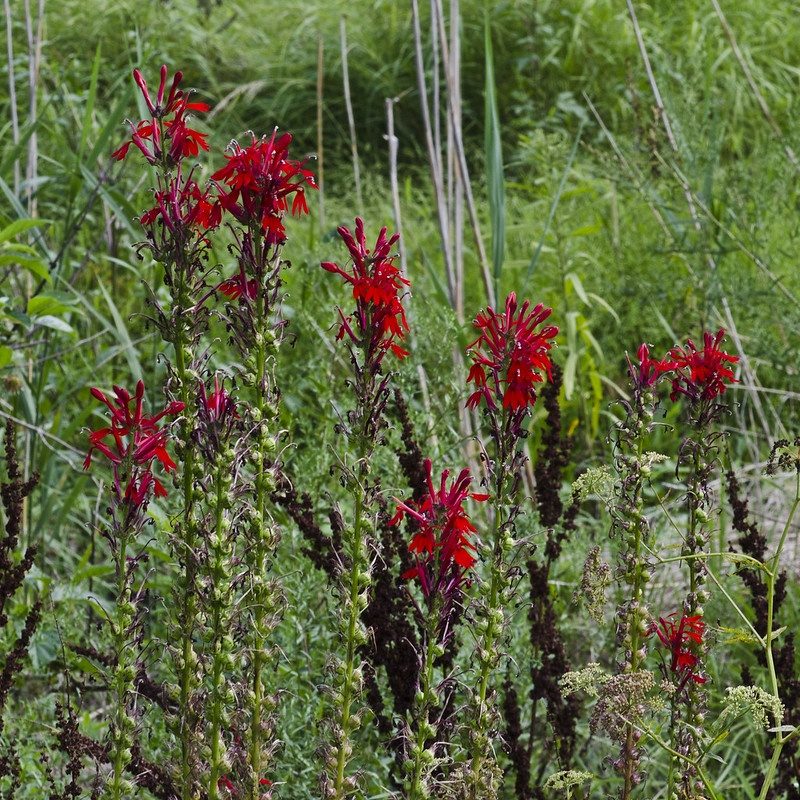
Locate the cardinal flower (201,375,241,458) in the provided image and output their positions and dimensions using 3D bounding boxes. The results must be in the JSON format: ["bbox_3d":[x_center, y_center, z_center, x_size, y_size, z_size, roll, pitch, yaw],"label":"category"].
[{"bbox_3d":[-0.442,0.031,4.879,0.085,0.176,0.071,-3,15,2],"label":"cardinal flower"}]

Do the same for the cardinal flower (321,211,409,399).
[{"bbox_3d":[-0.080,-0.236,4.927,0.205,0.448,0.307,-3,16,0],"label":"cardinal flower"}]

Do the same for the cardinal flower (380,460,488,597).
[{"bbox_3d":[0.094,0.284,4.902,0.239,0.333,0.271,1,18,17],"label":"cardinal flower"}]

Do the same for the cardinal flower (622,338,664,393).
[{"bbox_3d":[0.600,-0.085,5.062,0.081,0.140,0.098,-1,21,5],"label":"cardinal flower"}]

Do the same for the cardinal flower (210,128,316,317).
[{"bbox_3d":[-0.329,-0.448,4.960,0.245,0.430,0.191,-5,15,-5],"label":"cardinal flower"}]

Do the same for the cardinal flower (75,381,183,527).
[{"bbox_3d":[-0.681,0.088,5.009,0.263,0.474,0.295,2,7,-20],"label":"cardinal flower"}]

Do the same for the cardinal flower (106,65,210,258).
[{"bbox_3d":[-0.585,-0.572,4.998,0.239,0.519,0.346,-5,16,-8],"label":"cardinal flower"}]

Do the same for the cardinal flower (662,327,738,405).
[{"bbox_3d":[0.756,-0.094,5.055,0.157,0.168,0.179,-7,32,46],"label":"cardinal flower"}]

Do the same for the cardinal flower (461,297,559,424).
[{"bbox_3d":[0.266,-0.087,4.968,0.207,0.283,0.366,7,-13,-2],"label":"cardinal flower"}]

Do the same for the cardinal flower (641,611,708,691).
[{"bbox_3d":[0.698,0.604,5.109,0.113,0.218,0.119,6,10,-5],"label":"cardinal flower"}]
